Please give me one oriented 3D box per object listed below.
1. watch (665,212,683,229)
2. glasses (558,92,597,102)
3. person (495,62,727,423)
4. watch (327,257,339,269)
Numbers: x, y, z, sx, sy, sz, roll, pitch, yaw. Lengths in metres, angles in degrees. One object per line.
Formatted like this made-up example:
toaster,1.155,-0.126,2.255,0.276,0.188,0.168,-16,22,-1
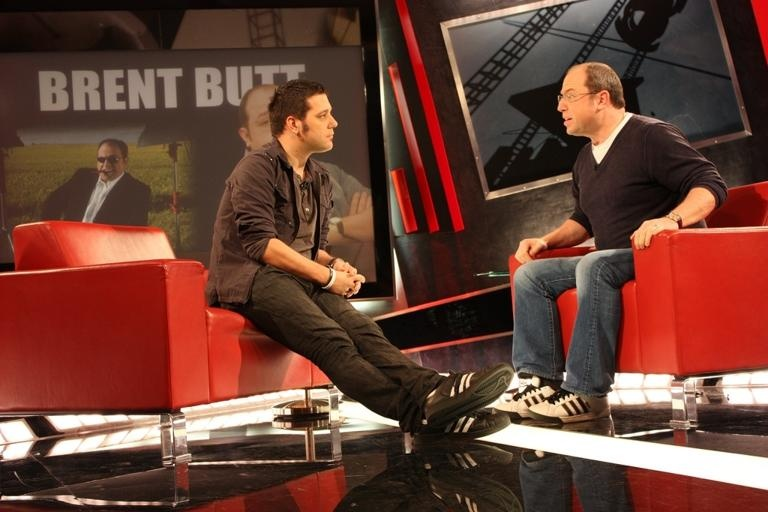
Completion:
watch,1.260,-0.153,2.984,0.037,0.048,0.053,-36,-20,-6
glasses,0.954,-0.794,3.412,0.107,0.026,0.098,-2,3,-2
person,1.136,-0.087,3.477,1.074,1.714,1.000,-2,-7,10
watch,-0.249,0.028,3.241,0.049,0.022,0.037,-24,20,30
